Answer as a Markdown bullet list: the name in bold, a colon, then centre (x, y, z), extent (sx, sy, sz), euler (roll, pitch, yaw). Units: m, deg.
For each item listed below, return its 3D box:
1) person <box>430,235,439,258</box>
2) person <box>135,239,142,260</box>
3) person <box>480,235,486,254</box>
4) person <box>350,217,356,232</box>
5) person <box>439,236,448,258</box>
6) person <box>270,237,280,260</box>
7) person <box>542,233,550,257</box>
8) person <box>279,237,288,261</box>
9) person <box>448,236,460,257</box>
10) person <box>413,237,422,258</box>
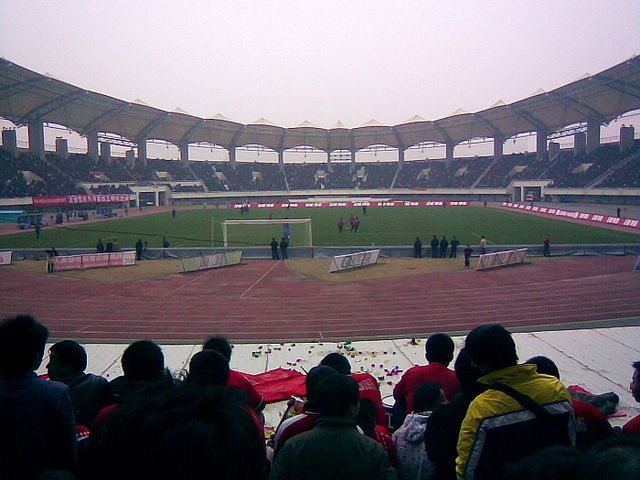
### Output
- **person**: centre (5.545, 0.311, 25.886), extent (0.402, 0.996, 1.306), euler (-2, 0, 12)
- **person**: centre (-8.617, 0.473, 26.013), extent (0.334, 0.994, 0.878), euler (-2, 0, -19)
- **person**: centre (7.640, 0.271, 25.254), extent (0.259, 0.738, 1.116), euler (-2, 0, 14)
- **person**: centre (2.404, -1.129, 38.442), extent (0.374, 1.125, 1.179), euler (-2, 0, 3)
- **person**: centre (5.952, 0.311, 25.952), extent (0.341, 0.998, 1.150), euler (-2, 0, 12)
- **person**: centre (-2.126, 0.423, 26.022), extent (0.361, 1.067, 1.346), euler (-2, 0, -5)
- **person**: centre (10.530, 0.269, 25.096), extent (0.308, 0.941, 0.889), euler (-2, 0, 22)
- **person**: centre (-1.694, 0.394, 26.120), extent (0.321, 1.117, 0.887), euler (-2, 0, -2)
- **person**: centre (6.493, 0.326, 26.158), extent (0.429, 0.975, 0.781), euler (-2, 0, 13)
- **person**: centre (4.704, 0.363, 25.961), extent (0.343, 0.974, 0.874), euler (-2, 0, 11)
